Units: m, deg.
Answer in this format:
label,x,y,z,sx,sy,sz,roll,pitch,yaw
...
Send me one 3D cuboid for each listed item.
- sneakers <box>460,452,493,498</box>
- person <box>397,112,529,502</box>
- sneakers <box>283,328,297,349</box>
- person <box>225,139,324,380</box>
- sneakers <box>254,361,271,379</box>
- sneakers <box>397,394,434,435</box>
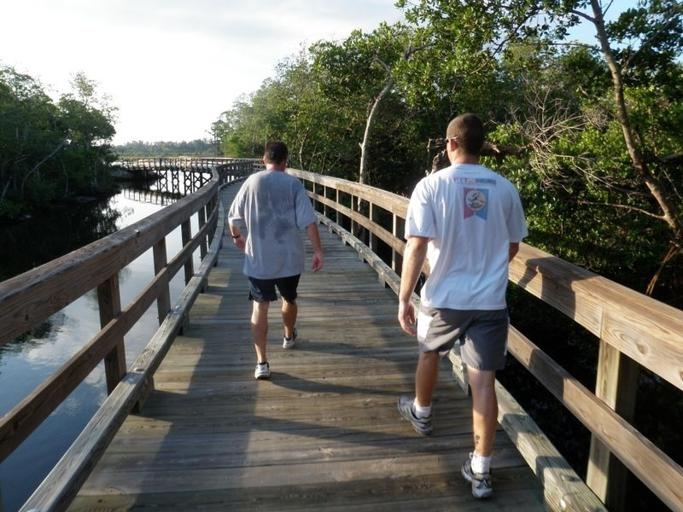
label,x,y,z,sx,sy,sz,roll,pitch,yaw
sneakers,0.690,1.113,2.509,0.084,0.130,0.252,-2,17,2
person,0.604,0.224,2.515,0.611,1.866,0.470,5,12,22
sneakers,-0.429,0.687,4.095,0.064,0.087,0.195,2,21,5
person,-0.516,-0.004,3.644,0.547,1.664,0.574,-5,12,-24
sneakers,-0.573,0.824,3.517,0.065,0.077,0.171,1,9,-5
sneakers,0.449,0.929,2.969,0.104,0.130,0.277,-8,29,-13
